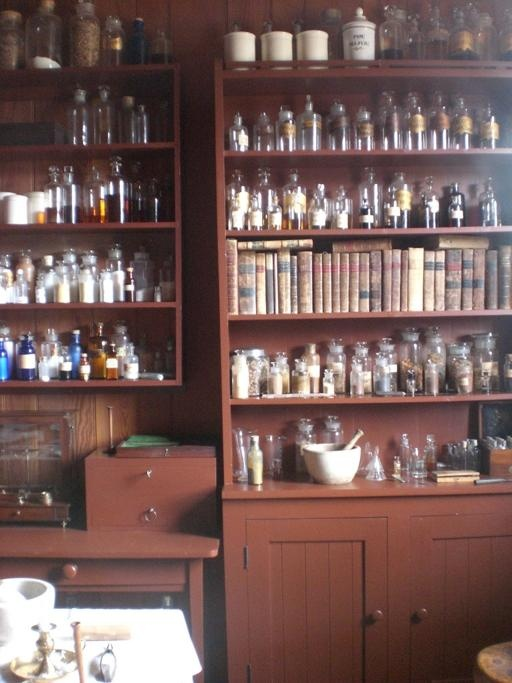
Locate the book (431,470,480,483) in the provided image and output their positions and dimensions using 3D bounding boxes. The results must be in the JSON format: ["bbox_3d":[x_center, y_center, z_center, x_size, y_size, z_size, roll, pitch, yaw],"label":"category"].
[{"bbox_3d":[0.705,0.474,2.920,0.162,0.030,0.085,-3,4,9],"label":"book"}]
